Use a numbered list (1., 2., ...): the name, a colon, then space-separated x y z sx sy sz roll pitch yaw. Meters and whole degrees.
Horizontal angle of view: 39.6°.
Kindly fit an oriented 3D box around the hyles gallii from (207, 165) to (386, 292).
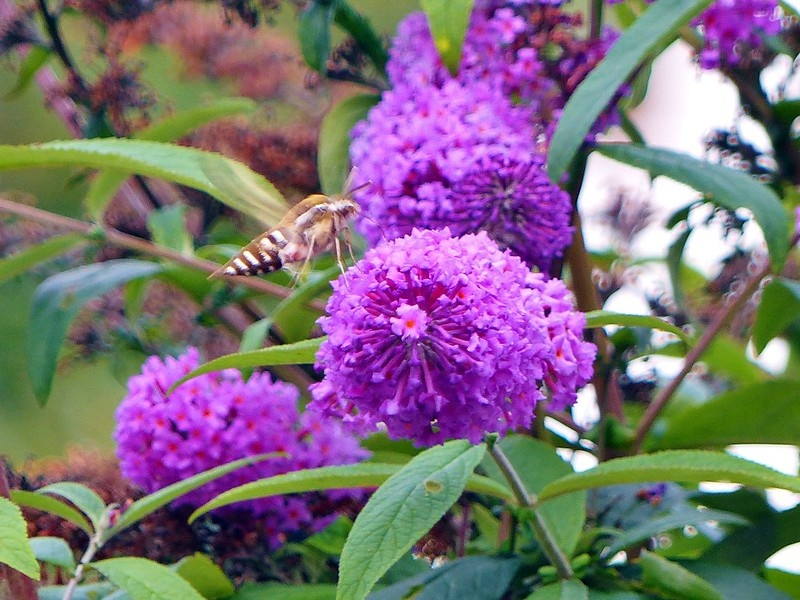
1. hyles gallii: -0.214 -0.142 2.381 0.390 0.225 0.123 -15 7 -17
